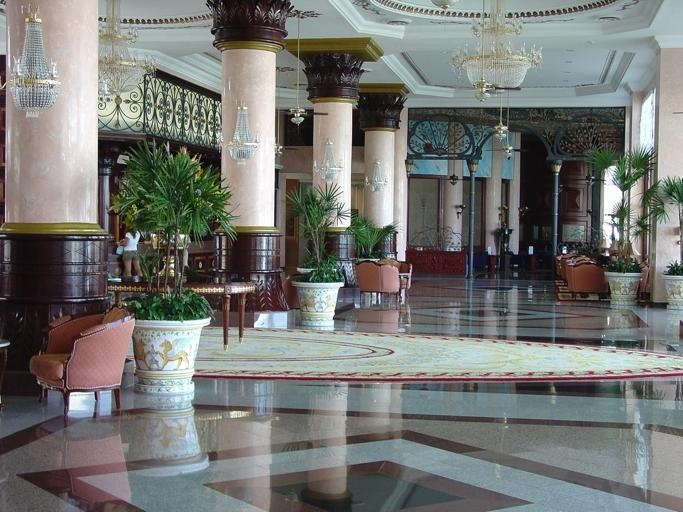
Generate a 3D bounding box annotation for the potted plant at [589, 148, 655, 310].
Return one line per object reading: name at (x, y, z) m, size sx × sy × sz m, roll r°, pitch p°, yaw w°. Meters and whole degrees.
potted plant at (6.670, -0.727, 13.697) m, size 1.817 × 3.695 × 1.481 m, roll 3°, pitch -1°, yaw -20°

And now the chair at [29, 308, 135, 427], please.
chair at (-2.196, 0.811, 5.048) m, size 0.742 × 0.816 × 0.667 m, roll 2°, pitch 0°, yaw -39°

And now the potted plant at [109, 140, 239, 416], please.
potted plant at (-1.673, 0.035, 5.855) m, size 1.118 × 2.420 × 2.003 m, roll 1°, pitch 1°, yaw -13°

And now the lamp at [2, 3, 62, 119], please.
lamp at (-2.516, -1.611, 4.852) m, size 0.371 × 0.958 × 0.743 m, roll 0°, pitch 1°, yaw -28°

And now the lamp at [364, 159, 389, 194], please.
lamp at (0.953, -2.073, 15.789) m, size 0.685 × 0.913 × 0.715 m, roll 3°, pitch 3°, yaw 36°

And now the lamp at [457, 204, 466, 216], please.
lamp at (4.850, -1.798, 23.531) m, size 0.545 × 0.508 × 0.368 m, roll 1°, pitch 1°, yaw 5°

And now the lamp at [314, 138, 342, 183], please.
lamp at (-0.249, -1.895, 11.906) m, size 0.683 × 0.871 × 0.706 m, roll 6°, pitch 12°, yaw 29°

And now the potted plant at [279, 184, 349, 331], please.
potted plant at (-0.388, -0.150, 10.974) m, size 1.029 × 2.583 × 3.091 m, roll 1°, pitch 1°, yaw 0°

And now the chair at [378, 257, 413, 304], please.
chair at (1.294, 0.502, 14.100) m, size 0.722 × 0.795 × 0.751 m, roll 11°, pitch 11°, yaw 21°

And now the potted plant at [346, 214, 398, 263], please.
potted plant at (0.745, -0.456, 14.929) m, size 1.182 × 1.152 × 1.155 m, roll 2°, pitch -4°, yaw -1°

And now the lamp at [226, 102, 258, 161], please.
lamp at (-1.356, -1.644, 8.136) m, size 0.501 × 0.698 × 0.516 m, roll 1°, pitch 9°, yaw 1°

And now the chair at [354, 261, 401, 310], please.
chair at (0.997, 0.578, 13.190) m, size 0.827 × 1.068 × 0.907 m, roll 5°, pitch 6°, yaw 43°

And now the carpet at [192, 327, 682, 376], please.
carpet at (1.014, 1.206, 7.642) m, size 5.615 × 0.061 × 3.008 m, roll 1°, pitch 2°, yaw -5°
